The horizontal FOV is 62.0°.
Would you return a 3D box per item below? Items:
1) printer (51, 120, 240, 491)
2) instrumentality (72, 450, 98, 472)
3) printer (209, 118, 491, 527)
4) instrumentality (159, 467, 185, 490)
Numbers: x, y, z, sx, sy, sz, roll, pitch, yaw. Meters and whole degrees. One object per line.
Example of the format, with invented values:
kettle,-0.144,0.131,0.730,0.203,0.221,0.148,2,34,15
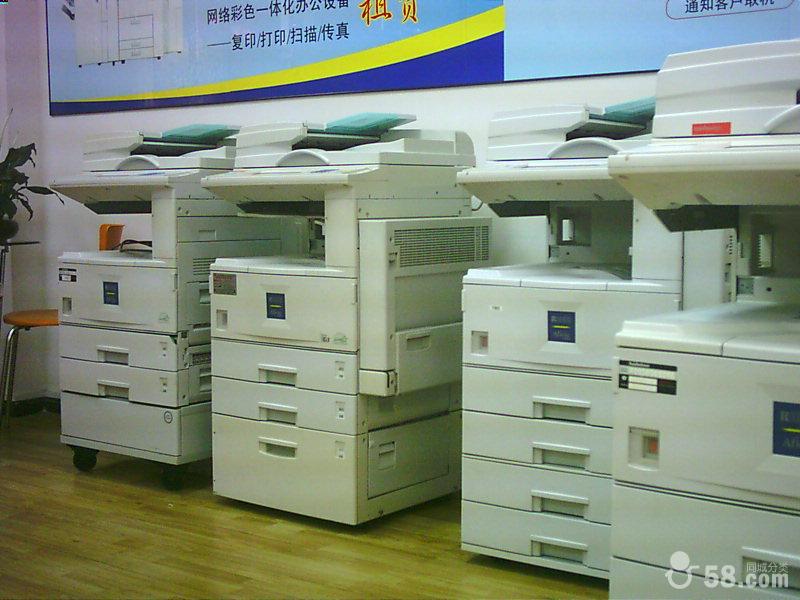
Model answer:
printer,-1.213,-0.034,3.658,1.144,1.726,1.126,-2,5,-30
instrumentality,-1.644,0.842,3.476,0.091,0.133,0.100,11,7,34
printer,-0.247,0.057,2.881,1.227,1.711,0.541,1,6,8
instrumentality,-1.112,0.856,3.272,0.108,0.118,0.146,-2,6,-20
